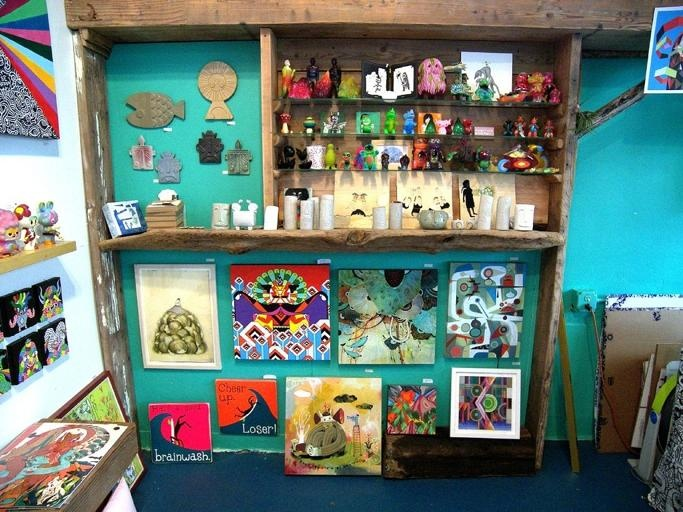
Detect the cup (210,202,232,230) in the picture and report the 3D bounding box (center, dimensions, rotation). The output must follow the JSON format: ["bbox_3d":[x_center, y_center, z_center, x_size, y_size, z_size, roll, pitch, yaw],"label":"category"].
[{"bbox_3d":[-0.884,-0.290,4.312,0.171,0.215,0.168,2,14,0],"label":"cup"}]

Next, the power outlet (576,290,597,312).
[{"bbox_3d":[1.903,0.356,4.597,0.149,0.150,0.155,0,1,4],"label":"power outlet"}]

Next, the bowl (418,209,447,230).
[{"bbox_3d":[0.668,-0.264,4.314,0.161,0.103,0.147,2,5,0],"label":"bowl"}]

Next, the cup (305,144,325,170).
[{"bbox_3d":[-0.180,-0.713,4.279,0.161,0.180,0.159,1,10,0],"label":"cup"}]

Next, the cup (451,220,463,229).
[{"bbox_3d":[0.852,-0.227,4.295,0.067,0.057,0.067,0,9,0],"label":"cup"}]

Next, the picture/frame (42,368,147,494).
[{"bbox_3d":[-1.705,1.309,4.206,0.269,0.858,0.611,2,8,18],"label":"picture/frame"}]

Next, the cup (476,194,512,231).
[{"bbox_3d":[1.042,-0.301,4.235,0.329,0.304,0.180,1,7,3],"label":"cup"}]

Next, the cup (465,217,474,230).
[{"bbox_3d":[0.957,-0.237,4.352,0.080,0.079,0.063,5,2,2],"label":"cup"}]

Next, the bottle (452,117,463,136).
[{"bbox_3d":[0.840,-0.928,4.242,0.111,0.155,0.111,2,4,0],"label":"bottle"}]
